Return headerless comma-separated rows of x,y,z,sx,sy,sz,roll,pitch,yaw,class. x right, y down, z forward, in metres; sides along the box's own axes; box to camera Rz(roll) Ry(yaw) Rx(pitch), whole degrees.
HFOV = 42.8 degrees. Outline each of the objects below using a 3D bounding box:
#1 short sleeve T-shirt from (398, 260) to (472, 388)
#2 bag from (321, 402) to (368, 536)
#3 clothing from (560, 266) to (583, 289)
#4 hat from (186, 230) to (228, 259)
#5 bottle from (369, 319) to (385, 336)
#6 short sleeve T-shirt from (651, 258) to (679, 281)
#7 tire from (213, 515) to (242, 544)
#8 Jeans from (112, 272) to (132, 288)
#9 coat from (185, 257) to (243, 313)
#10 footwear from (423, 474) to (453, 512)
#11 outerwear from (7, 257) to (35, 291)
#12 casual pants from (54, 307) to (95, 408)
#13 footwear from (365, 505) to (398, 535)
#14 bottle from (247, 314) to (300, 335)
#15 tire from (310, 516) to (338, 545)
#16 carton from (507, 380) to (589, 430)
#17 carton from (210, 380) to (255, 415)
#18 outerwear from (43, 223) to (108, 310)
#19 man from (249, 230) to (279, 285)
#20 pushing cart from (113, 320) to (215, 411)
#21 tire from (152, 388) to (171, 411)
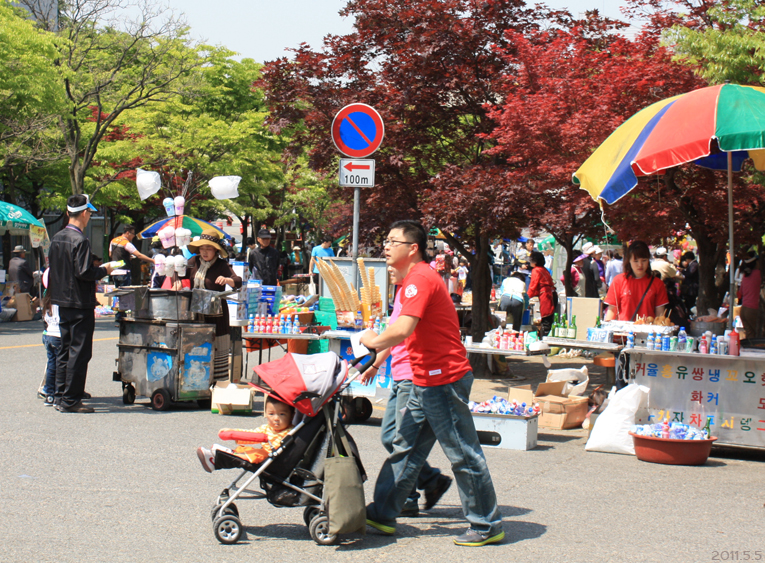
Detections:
0.537,0.449,9.819,0.697,1.184,0.444,1,12,2,short sleeve T-shirt
-0.386,1.990,9.721,0.423,1.180,0.510,-2,12,-12,bag
4.753,-0.087,24.511,0.686,0.623,0.380,13,-21,-39,clothing
-2.582,-0.576,14.543,0.433,0.239,0.458,15,-13,-4,hat
-0.051,0.638,13.880,0.173,0.305,0.170,1,-21,0,bottle
5.038,-0.203,17.480,0.520,0.316,0.701,10,-13,27,short sleeve T-shirt
-1.535,2.456,9.666,0.212,0.209,0.119,30,4,-10,tire
-5.895,-0.021,22.102,0.352,0.360,0.213,7,21,13,Jeans
-2.489,0.069,14.261,0.655,1.136,0.530,-4,-25,7,coat
0.565,2.272,10.573,0.233,0.506,0.172,22,31,-15,footwear
-9.886,-0.128,26.752,0.565,1.106,1.018,-1,12,-8,outerwear
-4.274,1.068,13.565,0.562,1.441,0.330,-3,13,-18,casual pants
-0.024,2.441,9.901,0.456,0.189,0.164,21,11,32,footwear
-1.614,0.625,14.587,0.778,0.234,0.312,0,12,-5,bottle
-0.568,2.454,9.645,0.311,0.302,0.123,2,5,-5,tire
2.361,1.773,13.924,0.796,0.500,0.791,1,0,35,carton
-2.125,1.649,13.840,0.477,0.290,0.476,2,1,1,carton
-4.242,-0.181,13.459,0.711,1.138,0.412,-1,12,-8,outerwear
-2.629,-0.519,21.559,0.655,1.355,1.354,-1,12,-8,man
-3.117,1.033,14.421,1.711,1.497,1.207,5,5,32,pushing cart
-3.128,1.664,13.845,0.266,0.260,0.088,-22,-12,26,tire
